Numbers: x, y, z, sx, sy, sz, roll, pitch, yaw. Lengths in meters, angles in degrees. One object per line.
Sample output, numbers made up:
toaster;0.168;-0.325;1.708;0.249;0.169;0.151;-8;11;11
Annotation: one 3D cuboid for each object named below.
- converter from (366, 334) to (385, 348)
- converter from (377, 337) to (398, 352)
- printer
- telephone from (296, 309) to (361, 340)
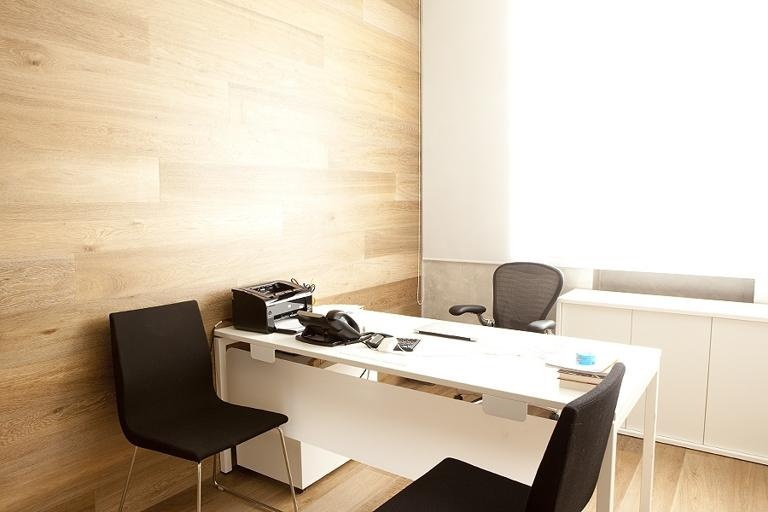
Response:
converter;-0.049;0.486;2.914;0.056;0.020;0.094;2;11;21
converter;0.024;0.505;2.859;0.056;0.013;0.141;5;7;17
printer;-0.740;0.305;3.298;0.376;0.257;0.478;2;6;30
telephone;-0.324;0.400;2.916;0.269;0.092;0.233;3;5;35
